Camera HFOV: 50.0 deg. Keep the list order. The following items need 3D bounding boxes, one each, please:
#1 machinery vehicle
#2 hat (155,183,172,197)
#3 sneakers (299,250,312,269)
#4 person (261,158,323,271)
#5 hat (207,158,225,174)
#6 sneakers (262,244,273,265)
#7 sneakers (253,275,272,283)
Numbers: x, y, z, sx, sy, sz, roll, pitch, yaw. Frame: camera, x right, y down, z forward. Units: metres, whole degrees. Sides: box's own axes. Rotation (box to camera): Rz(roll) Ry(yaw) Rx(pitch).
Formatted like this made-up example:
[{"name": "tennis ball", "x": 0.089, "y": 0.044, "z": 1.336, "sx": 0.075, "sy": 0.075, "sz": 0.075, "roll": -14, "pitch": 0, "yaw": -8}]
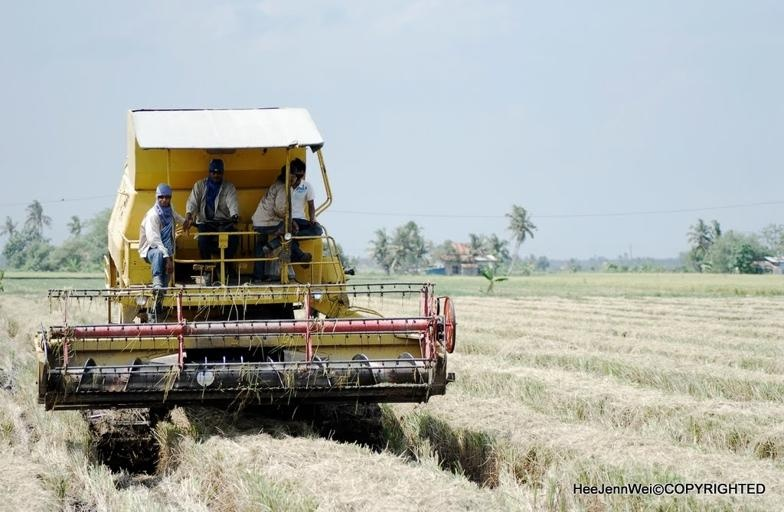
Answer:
[{"name": "machinery vehicle", "x": -3.122, "y": 0.412, "z": 15.872, "sx": 4.253, "sy": 4.204, "sz": 7.799, "roll": 0, "pitch": -4, "yaw": -13}, {"name": "hat", "x": -3.790, "y": -1.092, "z": 13.988, "sx": 0.185, "sy": 0.218, "sz": 0.259, "roll": -2, "pitch": -6, "yaw": -15}, {"name": "sneakers", "x": -1.472, "y": 0.073, "z": 14.461, "sx": 0.122, "sy": 0.421, "sz": 0.154, "roll": 3, "pitch": 5, "yaw": -16}, {"name": "person", "x": -1.775, "y": -0.807, "z": 14.643, "sx": 1.059, "sy": 1.868, "sz": 1.196, "roll": 2, "pitch": 5, "yaw": -16}, {"name": "hat", "x": -2.971, "y": -1.528, "z": 14.260, "sx": 0.188, "sy": 0.280, "sz": 0.246, "roll": 1, "pitch": -21, "yaw": -9}, {"name": "sneakers", "x": -2.114, "y": -0.010, "z": 14.223, "sx": 0.169, "sy": 0.276, "sz": 0.082, "roll": -2, "pitch": 1, "yaw": 2}, {"name": "sneakers", "x": -2.209, "y": 0.383, "z": 14.383, "sx": 0.232, "sy": 0.096, "sz": 0.149, "roll": -2, "pitch": 1, "yaw": 16}]
